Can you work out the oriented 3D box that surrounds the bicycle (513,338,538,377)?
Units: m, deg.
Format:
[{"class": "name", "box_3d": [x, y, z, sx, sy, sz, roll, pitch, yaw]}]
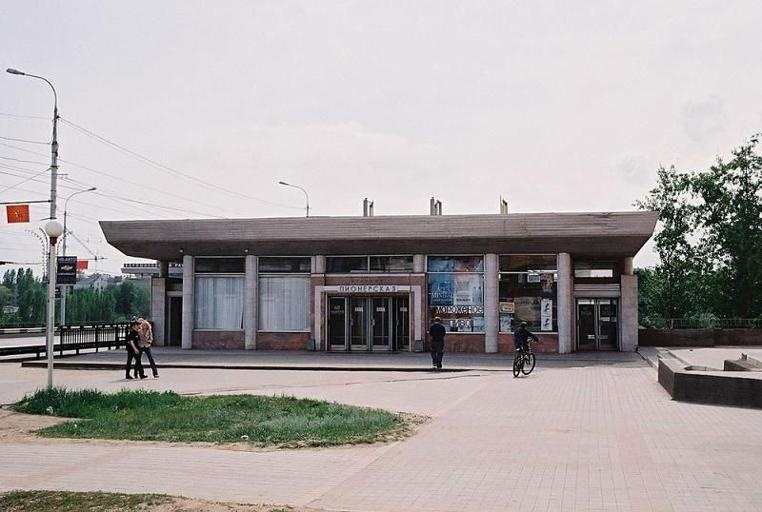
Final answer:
[{"class": "bicycle", "box_3d": [5.343, 4.084, 29.309, 0.802, 1.019, 1.680, -3, -10, 20]}]

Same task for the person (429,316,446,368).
[{"class": "person", "box_3d": [2.296, 3.542, 30.997, 0.524, 2.048, 1.040, -1, -6, 2]}]

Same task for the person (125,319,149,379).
[{"class": "person", "box_3d": [-8.942, 3.381, 27.856, 0.697, 2.161, 1.279, 1, -6, -18]}]
